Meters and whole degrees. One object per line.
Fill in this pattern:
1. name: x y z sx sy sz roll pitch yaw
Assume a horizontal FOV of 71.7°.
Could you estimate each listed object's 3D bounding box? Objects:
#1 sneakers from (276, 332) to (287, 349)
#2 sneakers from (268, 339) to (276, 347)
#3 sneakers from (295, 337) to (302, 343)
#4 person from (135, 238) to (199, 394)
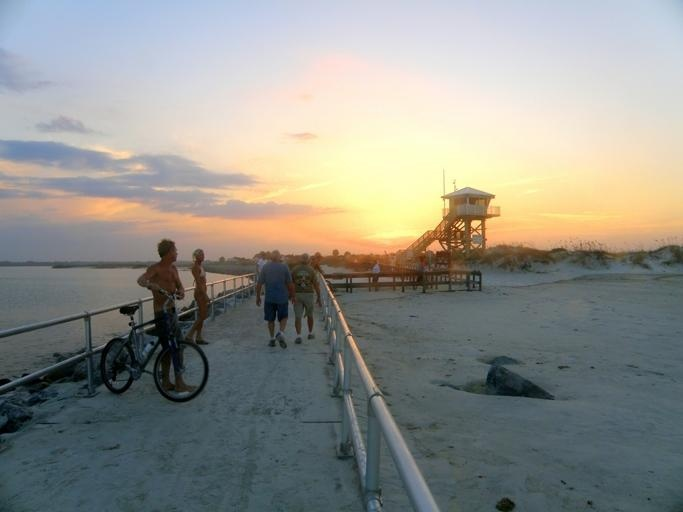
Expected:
1. sneakers: -1.342 1.964 10.687 0.156 0.452 0.191 -9 37 9
2. sneakers: -1.614 1.993 10.916 0.181 0.217 0.528 2 0 -7
3. sneakers: -1.043 1.988 11.398 0.149 0.161 0.306 4 5 -5
4. person: -2.809 0.918 7.607 0.873 2.333 1.022 3 6 -23
